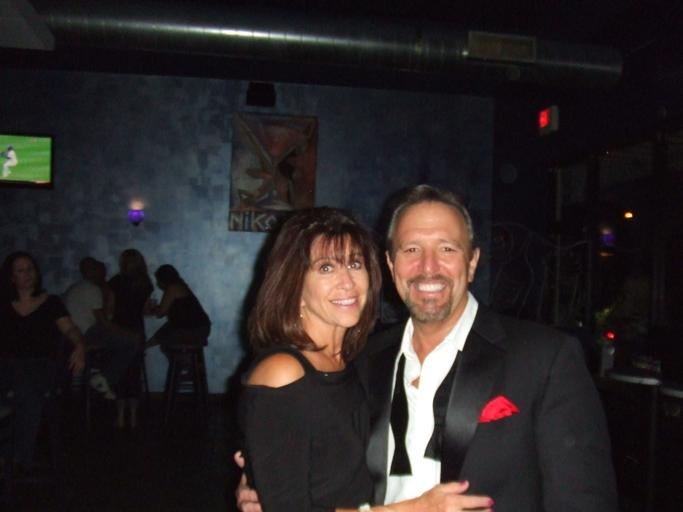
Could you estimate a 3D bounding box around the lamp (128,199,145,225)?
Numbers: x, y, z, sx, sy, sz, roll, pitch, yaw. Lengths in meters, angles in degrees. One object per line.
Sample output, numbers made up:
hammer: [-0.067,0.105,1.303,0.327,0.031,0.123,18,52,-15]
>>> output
lamp: [-2.722,-0.579,7.851,0.198,0.341,0.119,-4,12,-16]
